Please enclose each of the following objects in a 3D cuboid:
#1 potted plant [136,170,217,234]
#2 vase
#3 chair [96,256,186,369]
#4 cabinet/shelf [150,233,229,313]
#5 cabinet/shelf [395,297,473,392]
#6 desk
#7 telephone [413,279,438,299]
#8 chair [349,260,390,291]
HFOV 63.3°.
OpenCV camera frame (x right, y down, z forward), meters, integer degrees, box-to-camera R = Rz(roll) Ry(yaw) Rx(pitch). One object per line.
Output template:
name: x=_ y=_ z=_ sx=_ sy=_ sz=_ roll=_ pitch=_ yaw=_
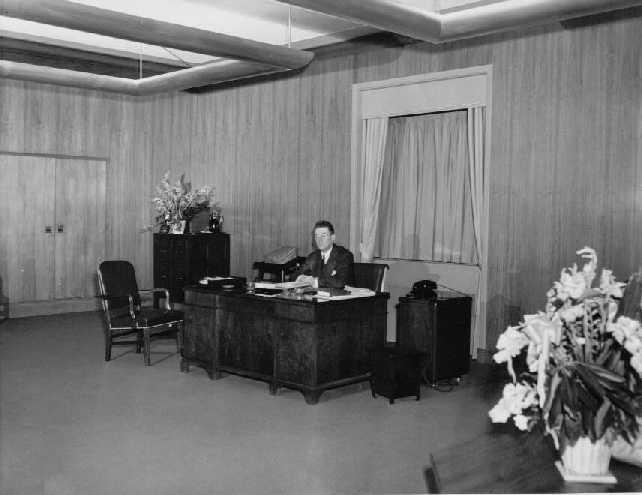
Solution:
potted plant: x=-2.681 y=-0.833 z=10.239 sx=1.386 sy=1.604 sz=1.379 roll=3 pitch=3 yaw=35
vase: x=0.891 y=0.703 z=1.789 sx=0.151 sy=0.151 sz=0.155 roll=2 pitch=-5 yaw=-17
chair: x=-2.307 y=0.783 z=6.639 sx=0.989 sy=1.226 sz=1.014 roll=-1 pitch=1 yaw=42
cabinet/shelf: x=-2.423 y=0.433 z=9.586 sx=1.151 sy=1.312 sz=1.192 roll=1 pitch=1 yaw=-29
cabinet/shelf: x=1.318 y=1.032 z=6.168 sx=0.849 sy=0.923 sz=0.906 roll=2 pitch=1 yaw=5
desk: x=-0.478 y=0.961 z=5.590 sx=2.101 sy=1.016 sz=0.761 roll=2 pitch=3 yaw=21
telephone: x=1.215 y=0.493 z=6.125 sx=0.188 sy=0.187 sz=0.243 roll=5 pitch=-4 yaw=-40
chair: x=0.548 y=0.323 z=5.978 sx=0.343 sy=0.430 sz=0.360 roll=10 pitch=-8 yaw=-37
